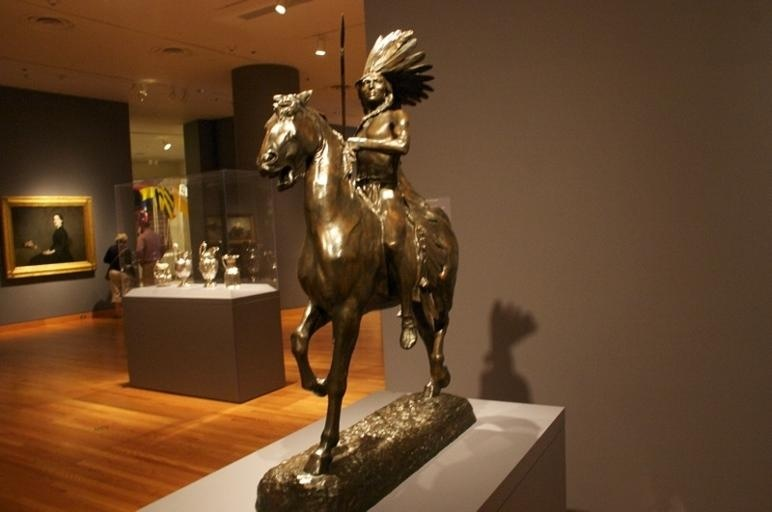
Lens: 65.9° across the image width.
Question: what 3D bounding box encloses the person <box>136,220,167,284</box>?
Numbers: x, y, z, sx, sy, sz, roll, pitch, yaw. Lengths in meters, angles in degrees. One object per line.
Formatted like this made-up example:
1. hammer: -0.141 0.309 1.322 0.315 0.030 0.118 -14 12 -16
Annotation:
1. person: -2.979 -0.006 7.511 0.469 0.833 0.168 7 12 42

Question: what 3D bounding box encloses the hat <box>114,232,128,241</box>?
1. hat: -3.502 -0.244 7.875 0.149 0.143 0.112 -6 8 -36

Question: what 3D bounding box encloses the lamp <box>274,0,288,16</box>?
1. lamp: -1.296 -3.079 7.354 0.155 0.177 0.170 15 -44 -12
